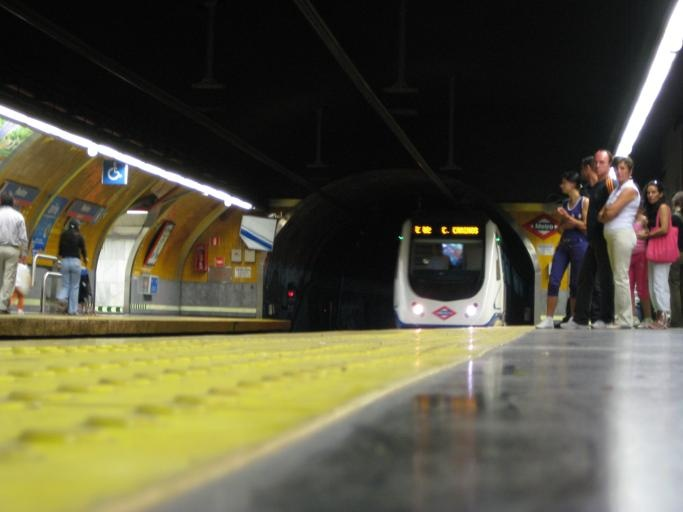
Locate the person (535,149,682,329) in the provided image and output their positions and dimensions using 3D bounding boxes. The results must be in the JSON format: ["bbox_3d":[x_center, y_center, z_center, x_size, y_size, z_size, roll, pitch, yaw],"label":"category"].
[{"bbox_3d":[3.830,-0.289,7.558,0.672,2.631,1.358,-1,-9,1],"label":"person"}]

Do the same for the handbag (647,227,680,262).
[{"bbox_3d":[5.355,-0.196,8.621,0.292,0.745,0.472,-3,5,-37],"label":"handbag"}]
